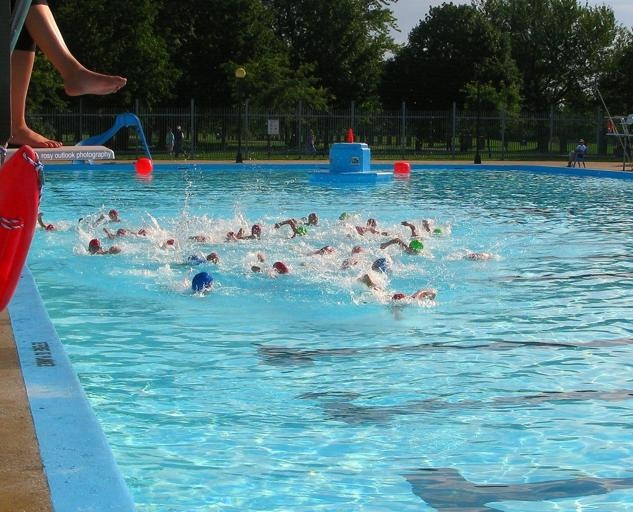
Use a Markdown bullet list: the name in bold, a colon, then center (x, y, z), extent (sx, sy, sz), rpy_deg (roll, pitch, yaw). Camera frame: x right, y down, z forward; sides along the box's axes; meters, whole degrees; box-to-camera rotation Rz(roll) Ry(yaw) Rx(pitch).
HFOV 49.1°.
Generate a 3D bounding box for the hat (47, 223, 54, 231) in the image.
- **hat**: center (-4.204, -0.477, 10.936), extent (0.094, 0.029, 0.103), rpy_deg (2, 28, -16)

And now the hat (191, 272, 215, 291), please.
- **hat**: center (-1.180, 0.258, 7.092), extent (0.147, 0.171, 0.196), rpy_deg (-4, -14, -42)

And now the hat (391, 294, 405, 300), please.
- **hat**: center (0.792, 0.383, 6.749), extent (0.119, 0.044, 0.217), rpy_deg (2, 9, 6)

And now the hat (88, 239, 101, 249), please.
- **hat**: center (-2.895, -0.136, 9.021), extent (0.100, 0.151, 0.112), rpy_deg (6, -10, 8)

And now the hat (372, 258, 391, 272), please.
- **hat**: center (0.709, 0.103, 7.850), extent (0.178, 0.136, 0.276), rpy_deg (4, 10, 18)

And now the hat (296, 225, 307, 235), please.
- **hat**: center (-0.247, -0.386, 10.624), extent (0.126, 0.081, 0.160), rpy_deg (0, 19, -2)

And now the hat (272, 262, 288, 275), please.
- **hat**: center (-0.407, 0.131, 7.628), extent (0.122, 0.045, 0.132), rpy_deg (10, 22, 2)

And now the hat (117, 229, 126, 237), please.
- **hat**: center (-2.847, -0.345, 10.060), extent (0.102, 0.053, 0.111), rpy_deg (3, 17, -8)

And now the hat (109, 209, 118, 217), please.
- **hat**: center (-3.556, -0.744, 12.114), extent (0.151, 0.106, 0.173), rpy_deg (2, 28, 5)

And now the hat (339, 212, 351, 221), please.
- **hat**: center (0.478, -0.704, 12.301), extent (0.177, 0.057, 0.188), rpy_deg (11, 16, 28)
